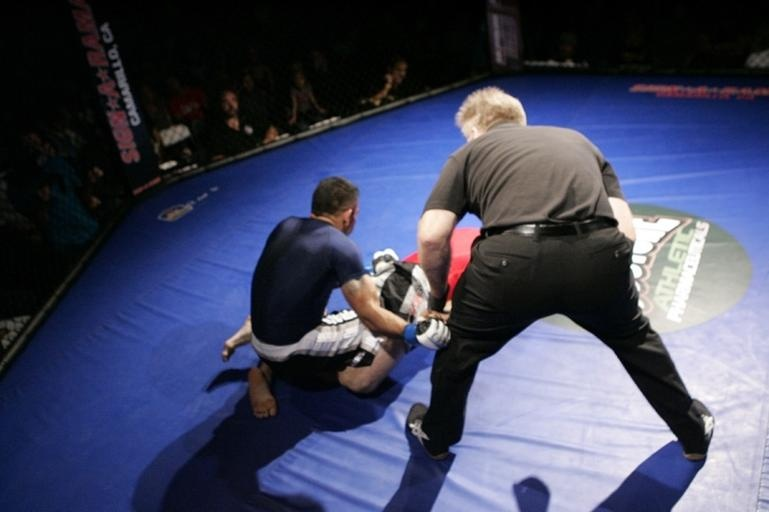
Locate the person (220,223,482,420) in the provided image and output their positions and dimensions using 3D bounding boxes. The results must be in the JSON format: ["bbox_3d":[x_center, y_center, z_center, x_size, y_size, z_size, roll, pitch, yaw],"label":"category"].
[{"bbox_3d":[-0.147,0.537,4.661,2.203,0.852,1.264,-19,31,-13],"label":"person"}]

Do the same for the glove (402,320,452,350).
[{"bbox_3d":[0.295,0.530,3.932,0.282,0.134,0.214,3,10,38],"label":"glove"}]

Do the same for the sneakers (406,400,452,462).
[{"bbox_3d":[0.301,1.302,4.165,0.210,0.157,0.504,-23,45,-11],"label":"sneakers"}]

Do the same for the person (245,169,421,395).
[{"bbox_3d":[-0.415,0.276,4.705,1.842,1.510,1.058,14,12,32],"label":"person"}]
